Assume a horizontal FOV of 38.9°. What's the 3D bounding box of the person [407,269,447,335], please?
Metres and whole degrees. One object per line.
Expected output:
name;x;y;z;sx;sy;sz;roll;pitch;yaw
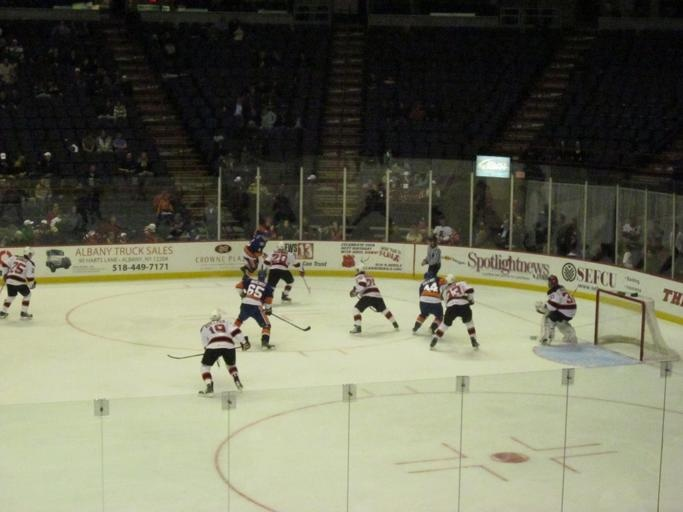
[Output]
person;1.893;1.026;21.041;0.948;1.662;0.458;0;-30;21

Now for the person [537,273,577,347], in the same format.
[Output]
person;4.552;1.148;20.502;0.705;1.514;0.888;7;14;31

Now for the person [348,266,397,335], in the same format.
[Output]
person;0.684;0.955;21.729;0.943;1.436;1.343;0;11;0

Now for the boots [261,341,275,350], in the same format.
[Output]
boots;-1.538;1.840;20.329;0.263;0.164;0.304;-1;11;-4

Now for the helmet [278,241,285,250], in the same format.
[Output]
helmet;-1.509;-0.272;24.185;0.148;0.202;0.201;-1;-6;-2

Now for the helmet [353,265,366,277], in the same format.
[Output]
helmet;0.435;0.389;22.954;0.287;0.310;0.283;-2;7;-40

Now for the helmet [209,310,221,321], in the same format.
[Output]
helmet;-2.261;1.068;17.407;0.194;0.198;0.132;4;-3;-26

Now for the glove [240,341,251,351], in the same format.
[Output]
glove;-1.893;1.772;19.075;0.232;0.134;0.379;-2;-6;-7

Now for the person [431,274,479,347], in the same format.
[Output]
person;2.299;1.153;20.353;0.996;1.676;0.710;-7;-29;14

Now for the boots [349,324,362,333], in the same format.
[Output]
boots;0.321;1.611;21.425;0.256;0.254;0.132;4;0;-33

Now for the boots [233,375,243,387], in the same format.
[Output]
boots;-1.903;2.276;17.636;0.082;0.237;0.166;-16;-1;-6

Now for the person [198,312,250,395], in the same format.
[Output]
person;-2.129;1.762;17.285;0.852;1.471;0.836;-5;13;-22

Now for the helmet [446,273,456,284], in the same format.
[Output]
helmet;2.291;0.470;20.465;0.177;0.203;0.232;4;12;9

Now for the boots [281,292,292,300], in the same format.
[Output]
boots;-1.408;1.001;24.733;0.250;0.245;0.131;-7;22;-11
